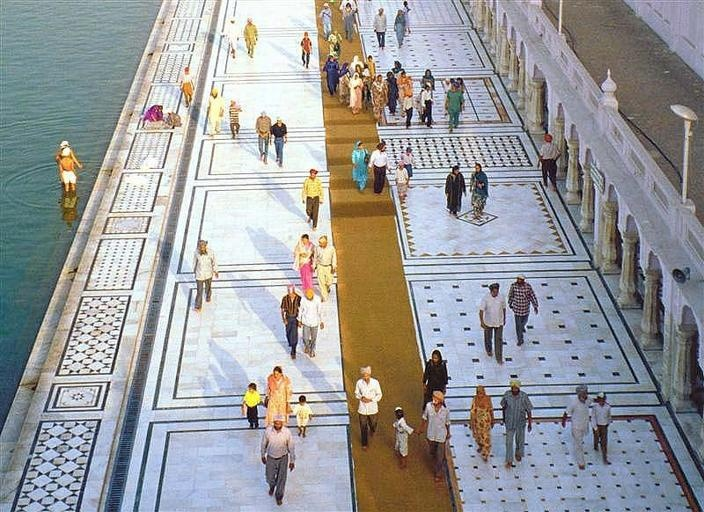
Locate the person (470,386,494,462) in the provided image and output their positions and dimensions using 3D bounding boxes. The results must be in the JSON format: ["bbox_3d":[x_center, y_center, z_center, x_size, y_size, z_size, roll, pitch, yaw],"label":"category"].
[{"bbox_3d":[2.143,2.617,12.890,0.368,1.497,0.631,1,31,9],"label":"person"}]

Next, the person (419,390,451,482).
[{"bbox_3d":[1.349,2.826,12.457,0.384,1.621,0.567,-3,31,3],"label":"person"}]

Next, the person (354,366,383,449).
[{"bbox_3d":[0.265,2.313,13.268,0.411,1.616,1.046,-6,31,-1],"label":"person"}]

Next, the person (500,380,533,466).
[{"bbox_3d":[2.684,2.650,12.739,0.444,1.573,0.696,0,31,9],"label":"person"}]

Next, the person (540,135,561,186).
[{"bbox_3d":[5.183,-2.595,20.388,0.473,1.479,0.620,4,32,15],"label":"person"}]

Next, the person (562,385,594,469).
[{"bbox_3d":[3.691,2.745,12.797,0.434,1.381,0.758,5,32,16],"label":"person"}]
